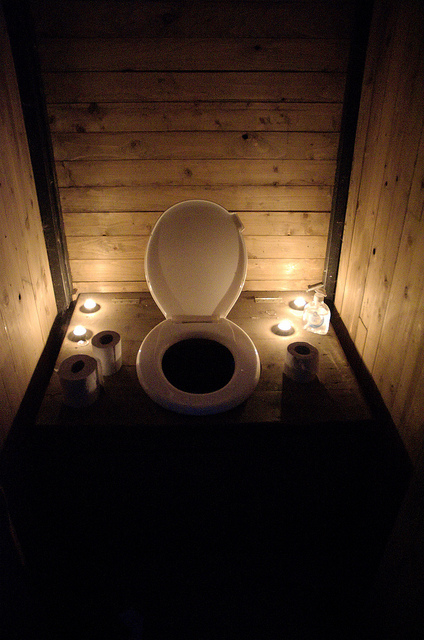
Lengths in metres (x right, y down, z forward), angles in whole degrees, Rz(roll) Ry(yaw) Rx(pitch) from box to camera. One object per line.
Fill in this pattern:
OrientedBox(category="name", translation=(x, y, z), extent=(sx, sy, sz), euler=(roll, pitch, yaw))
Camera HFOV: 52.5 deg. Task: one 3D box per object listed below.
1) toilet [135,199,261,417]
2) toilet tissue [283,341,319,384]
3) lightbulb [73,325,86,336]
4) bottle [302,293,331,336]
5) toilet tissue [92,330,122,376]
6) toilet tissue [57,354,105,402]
OrientedBox(category="toilet", translation=(-0.047, -0.021, 1.542), extent=(0.387, 0.184, 0.856), euler=(-2, 61, 0))
OrientedBox(category="toilet tissue", translation=(0.303, 0.149, 1.511), extent=(0.107, 0.129, 0.128), euler=(-10, 37, -10))
OrientedBox(category="lightbulb", translation=(-0.527, 0.040, 1.715), extent=(0.047, 0.022, 0.053), euler=(4, 24, 6))
OrientedBox(category="bottle", translation=(0.447, -0.047, 1.829), extent=(0.116, 0.147, 0.176), euler=(8, 23, 16))
OrientedBox(category="toilet tissue", translation=(-0.369, 0.091, 1.490), extent=(0.083, 0.119, 0.098), euler=(-4, 33, -12))
OrientedBox(category="toilet tissue", translation=(-0.414, 0.203, 1.376), extent=(0.113, 0.091, 0.136), euler=(10, 42, 5))
